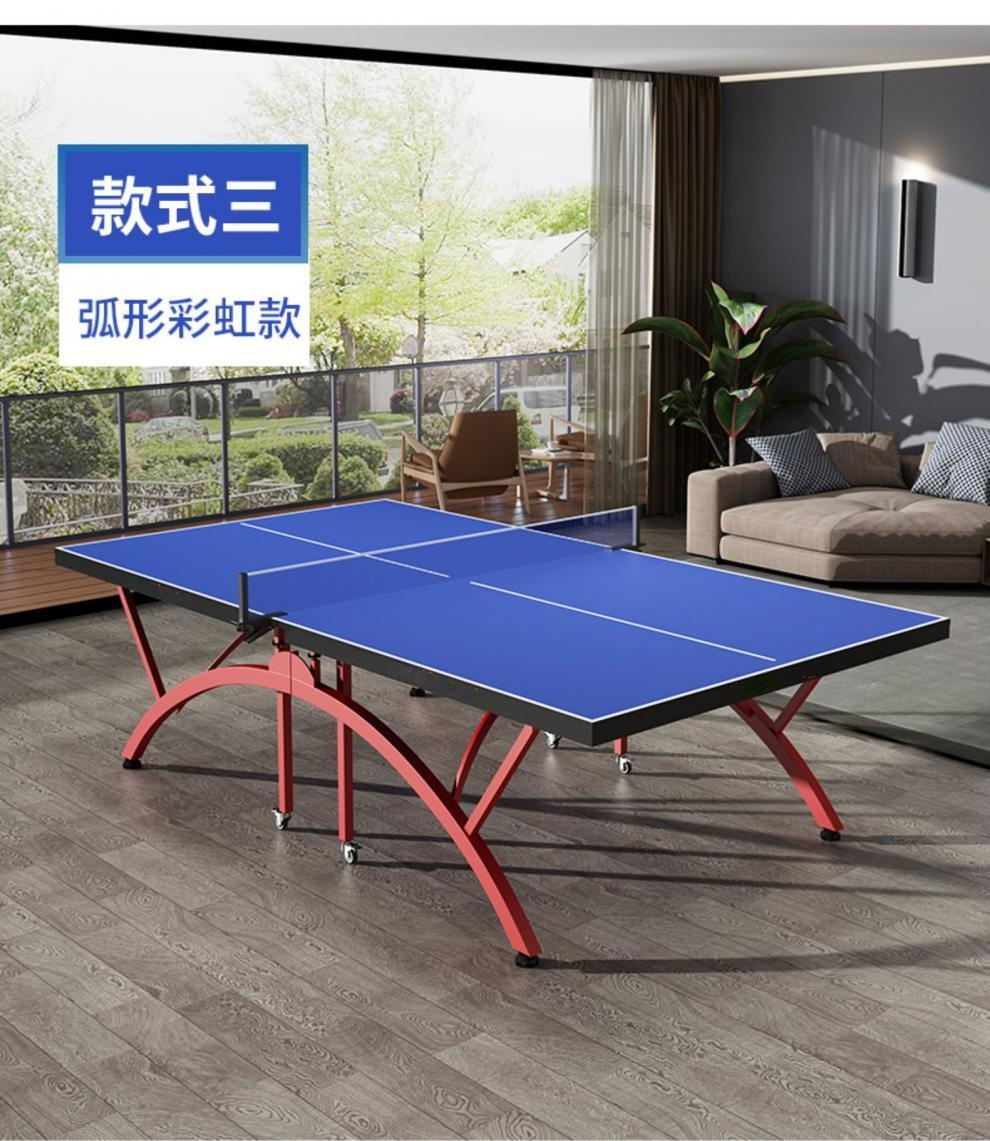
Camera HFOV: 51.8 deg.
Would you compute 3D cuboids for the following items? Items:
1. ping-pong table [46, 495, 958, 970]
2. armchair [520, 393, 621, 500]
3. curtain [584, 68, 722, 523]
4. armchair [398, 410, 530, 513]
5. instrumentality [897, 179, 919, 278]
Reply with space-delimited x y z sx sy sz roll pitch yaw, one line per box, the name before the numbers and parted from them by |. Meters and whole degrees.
ping-pong table | -0.089 0.380 3.075 1.326 0.873 2.205 -8 13 -42
armchair | 0.470 -1.204 9.583 0.840 0.977 0.803 27 25 29
curtain | 1.167 -2.063 7.725 1.246 3.305 0.322 -9 14 -41
armchair | -0.209 -0.822 7.529 0.815 0.679 0.923 -5 12 -30
instrumentality | 2.843 -2.354 6.956 0.139 0.637 0.160 14 33 40
